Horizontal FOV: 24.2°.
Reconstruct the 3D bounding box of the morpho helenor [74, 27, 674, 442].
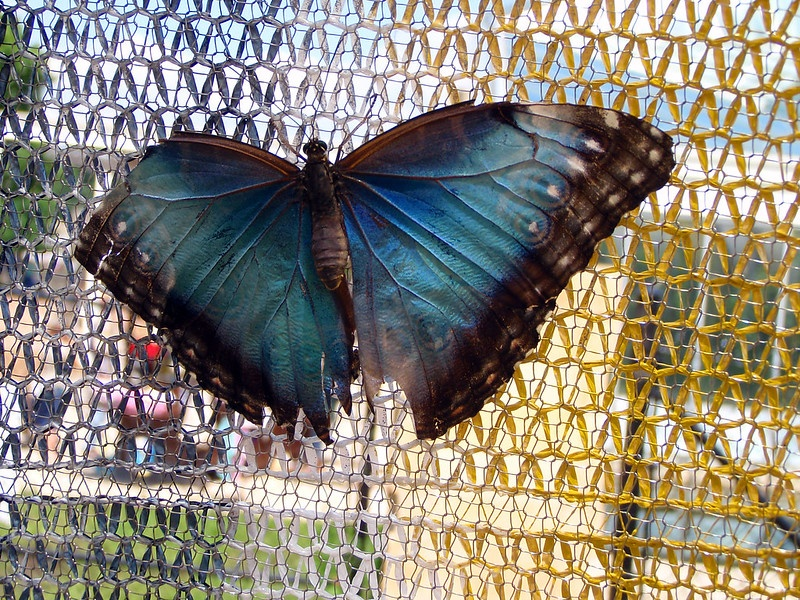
[{"bbox_3d":[-0.113,-0.034,2.756,0.993,0.455,0.062,-7,5,36],"label":"morpho helenor"}]
